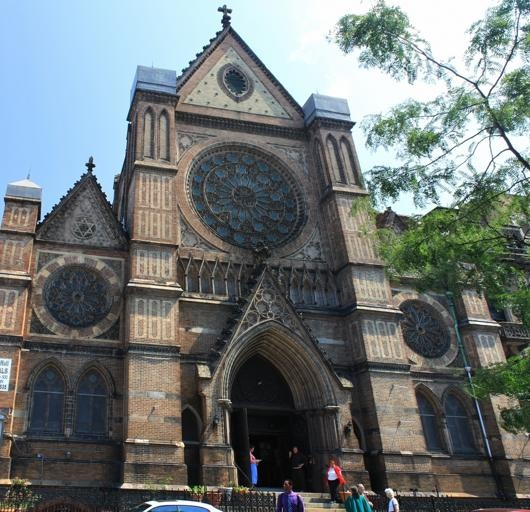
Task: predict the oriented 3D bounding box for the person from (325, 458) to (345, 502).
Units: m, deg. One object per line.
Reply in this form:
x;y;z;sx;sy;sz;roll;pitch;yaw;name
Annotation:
2.411;7.766;18.348;0.629;1.338;1.545;-7;-25;3;person
